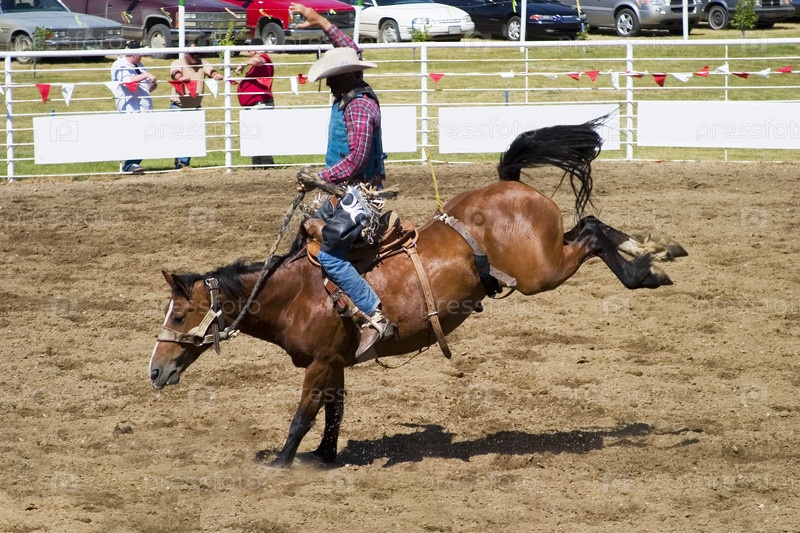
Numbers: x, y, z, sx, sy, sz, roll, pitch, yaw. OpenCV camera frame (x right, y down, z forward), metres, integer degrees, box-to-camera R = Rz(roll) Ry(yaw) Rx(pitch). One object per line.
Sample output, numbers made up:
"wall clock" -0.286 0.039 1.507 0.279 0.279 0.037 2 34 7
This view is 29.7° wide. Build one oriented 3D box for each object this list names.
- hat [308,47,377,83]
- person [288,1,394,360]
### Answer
"hat" -0.686 -2.203 16.491 0.497 0.176 0.434 -15 9 -20
"person" -0.536 -0.694 16.591 0.765 3.396 0.640 -3 7 -4
